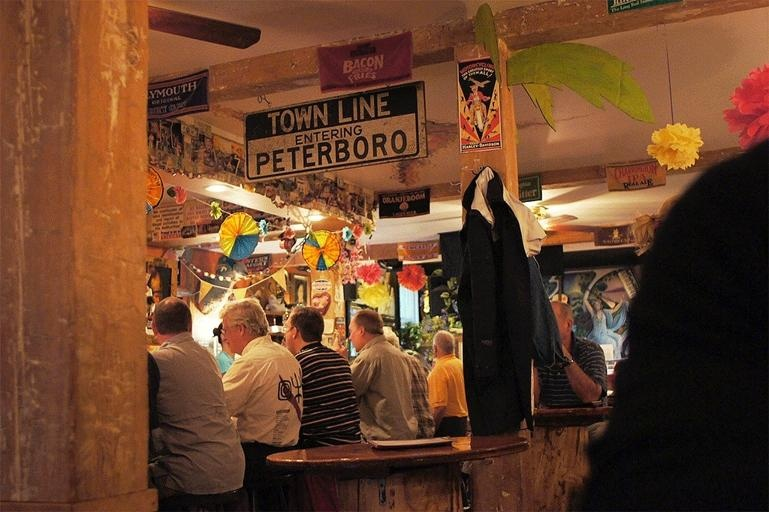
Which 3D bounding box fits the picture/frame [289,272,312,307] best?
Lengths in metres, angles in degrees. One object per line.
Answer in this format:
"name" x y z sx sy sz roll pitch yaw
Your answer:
"picture/frame" -1.607 0.641 14.334 0.050 0.685 0.625 -4 -6 26
